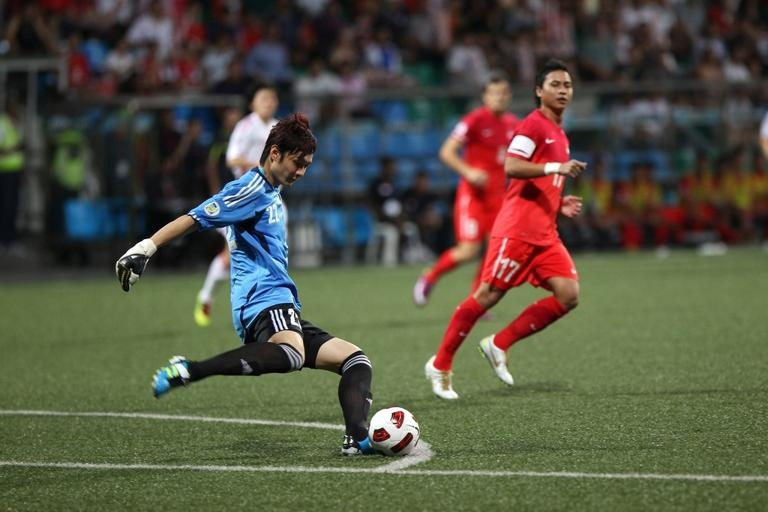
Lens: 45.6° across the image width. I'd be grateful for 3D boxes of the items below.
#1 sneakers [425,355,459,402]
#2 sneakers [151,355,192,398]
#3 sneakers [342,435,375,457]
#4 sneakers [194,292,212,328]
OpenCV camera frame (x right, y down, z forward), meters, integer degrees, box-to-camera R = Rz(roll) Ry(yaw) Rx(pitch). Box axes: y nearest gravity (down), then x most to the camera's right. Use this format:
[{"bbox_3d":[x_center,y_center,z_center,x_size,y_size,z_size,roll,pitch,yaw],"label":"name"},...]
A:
[{"bbox_3d":[0.488,1.016,7.654,0.266,0.357,0.174,-1,8,3],"label":"sneakers"},{"bbox_3d":[-1.421,0.811,6.225,0.299,0.199,0.131,-36,-23,-12],"label":"sneakers"},{"bbox_3d":[-0.151,1.354,6.494,0.282,0.132,0.101,2,-3,-42],"label":"sneakers"},{"bbox_3d":[-2.189,0.693,10.925,0.170,0.201,0.453,2,-32,0],"label":"sneakers"}]
